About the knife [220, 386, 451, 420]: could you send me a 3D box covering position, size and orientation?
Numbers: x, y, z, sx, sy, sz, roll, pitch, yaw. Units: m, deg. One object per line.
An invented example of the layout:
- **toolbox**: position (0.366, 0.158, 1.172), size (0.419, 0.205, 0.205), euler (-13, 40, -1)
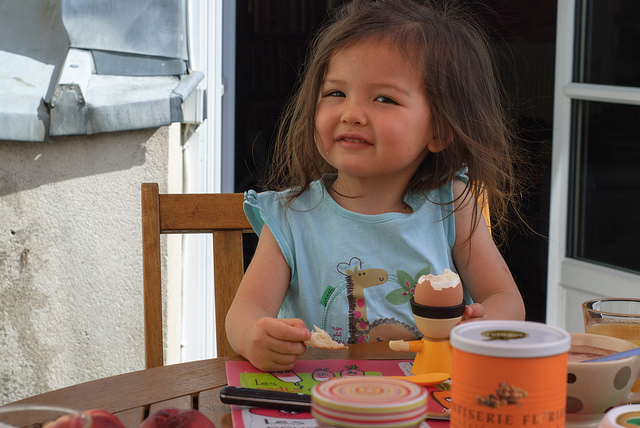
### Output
- **knife**: position (0.022, 0.363, 1.286), size (0.415, 0.037, 0.056), euler (5, 28, 4)
